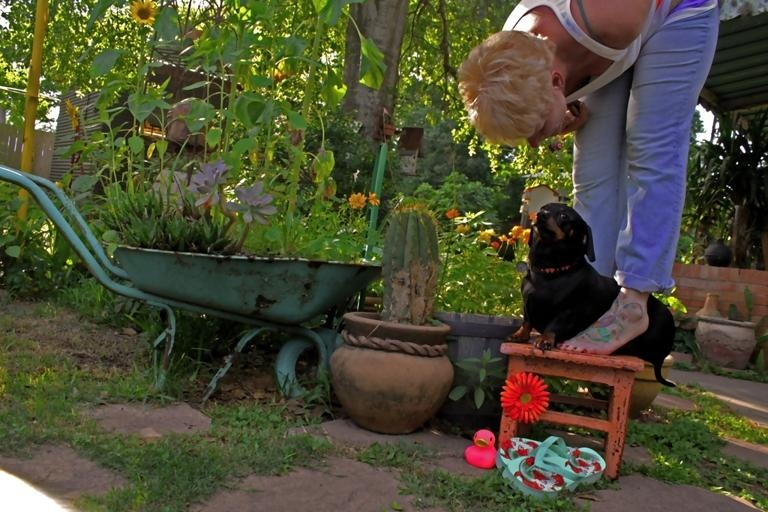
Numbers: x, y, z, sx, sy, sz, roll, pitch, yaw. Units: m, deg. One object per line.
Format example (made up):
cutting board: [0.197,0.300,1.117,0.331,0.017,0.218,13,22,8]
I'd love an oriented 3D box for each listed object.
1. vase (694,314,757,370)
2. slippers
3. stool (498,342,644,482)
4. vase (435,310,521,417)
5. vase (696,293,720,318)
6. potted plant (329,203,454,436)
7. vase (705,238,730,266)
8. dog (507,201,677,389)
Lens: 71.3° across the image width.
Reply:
vase: [3.576,0.876,5.677,0.584,0.586,0.549,6,-5,-40]
slippers: [0.734,0.918,2.313,0.344,0.103,0.248,1,18,-14]
stool: [0.895,0.713,2.591,0.600,0.575,0.480,5,-11,24]
vase: [0.488,0.579,2.903,0.507,0.393,0.487,-3,-9,31]
vase: [3.621,0.538,5.928,0.266,0.285,0.275,3,2,44]
potted plant: [0.070,0.279,2.815,0.650,1.181,0.687,7,4,39]
vase: [4.043,-0.037,6.423,0.295,0.333,0.307,2,3,26]
dog: [1.103,0.196,2.652,1.027,0.640,0.412,14,-4,-20]
